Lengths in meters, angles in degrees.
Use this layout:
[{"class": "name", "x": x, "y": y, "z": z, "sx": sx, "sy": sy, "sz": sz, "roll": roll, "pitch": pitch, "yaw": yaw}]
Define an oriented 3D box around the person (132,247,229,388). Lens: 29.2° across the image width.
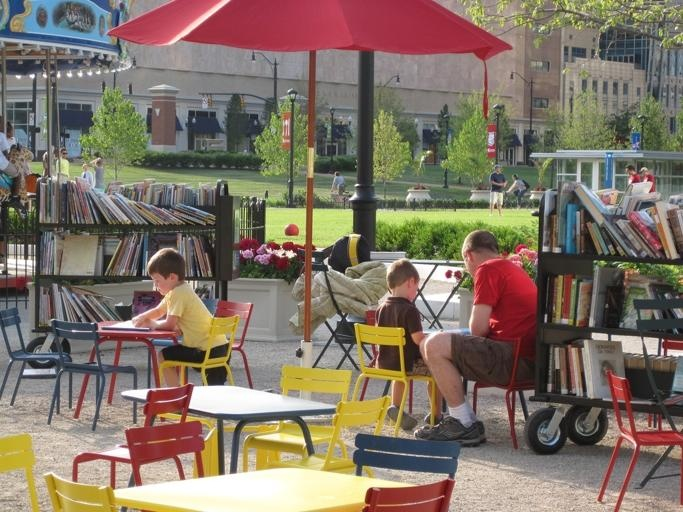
[{"class": "person", "x": -1.693, "y": 0.575, "z": 13.607, "sx": 0.807, "sy": 1.635, "sz": 0.742, "roll": -1, "pitch": 7, "yaw": -32}]
